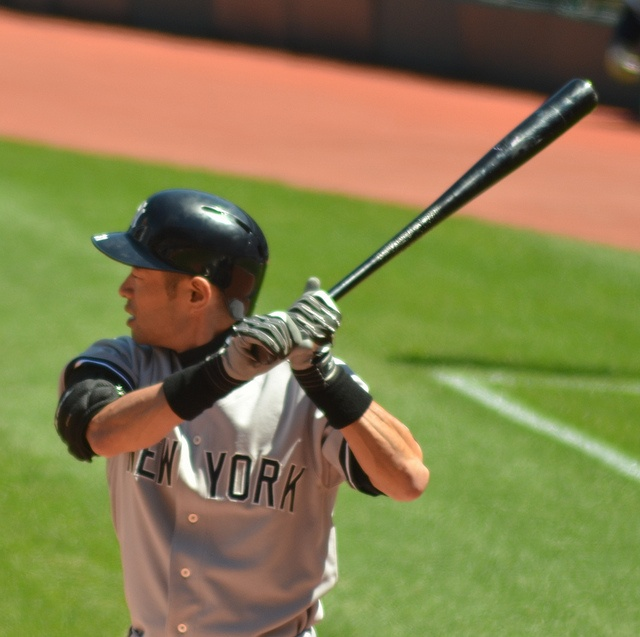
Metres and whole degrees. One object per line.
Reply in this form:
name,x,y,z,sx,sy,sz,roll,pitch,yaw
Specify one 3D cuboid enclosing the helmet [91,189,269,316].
helmet,-0.526,-0.295,3.484,0.664,0.333,0.403,4,27,-29
